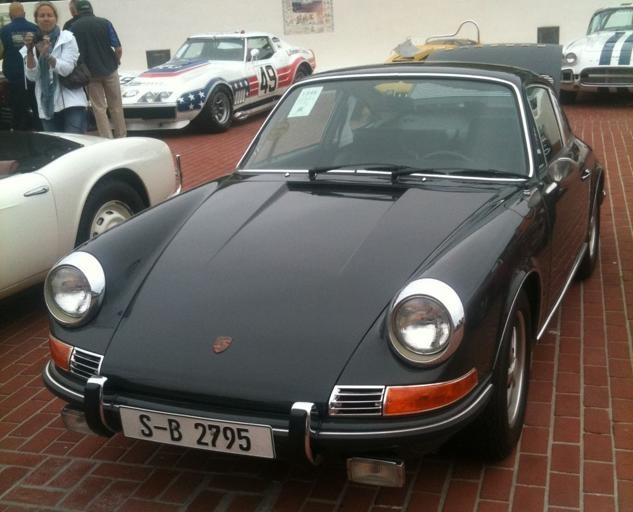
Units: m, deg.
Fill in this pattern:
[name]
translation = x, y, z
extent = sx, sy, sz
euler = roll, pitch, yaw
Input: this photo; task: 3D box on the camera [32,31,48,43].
[camera]
translation = -3.408, -2.705, 6.008
extent = 0.189, 0.050, 0.195
euler = 18, 57, 30
